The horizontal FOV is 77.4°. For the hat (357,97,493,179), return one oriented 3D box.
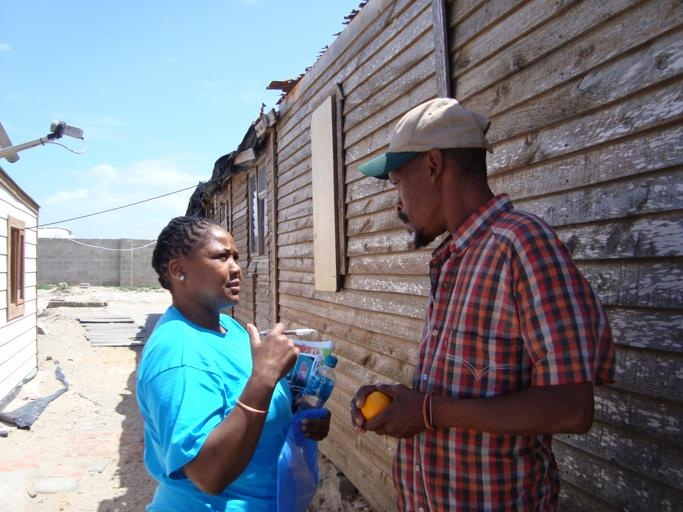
[{"bbox_3d":[0.356,-0.527,1.909,0.577,0.296,0.349,-8,11,8],"label":"hat"}]

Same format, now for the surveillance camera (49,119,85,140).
[{"bbox_3d":[-4.282,-1.912,6.609,0.439,0.244,0.518,1,0,-30],"label":"surveillance camera"}]

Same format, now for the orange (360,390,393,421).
[{"bbox_3d":[0.134,0.603,1.774,0.127,0.091,0.100,-36,-39,1],"label":"orange"}]

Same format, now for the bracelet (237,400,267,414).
[{"bbox_3d":[-0.380,0.640,1.787,0.075,0.017,0.069,15,2,-3],"label":"bracelet"}]
